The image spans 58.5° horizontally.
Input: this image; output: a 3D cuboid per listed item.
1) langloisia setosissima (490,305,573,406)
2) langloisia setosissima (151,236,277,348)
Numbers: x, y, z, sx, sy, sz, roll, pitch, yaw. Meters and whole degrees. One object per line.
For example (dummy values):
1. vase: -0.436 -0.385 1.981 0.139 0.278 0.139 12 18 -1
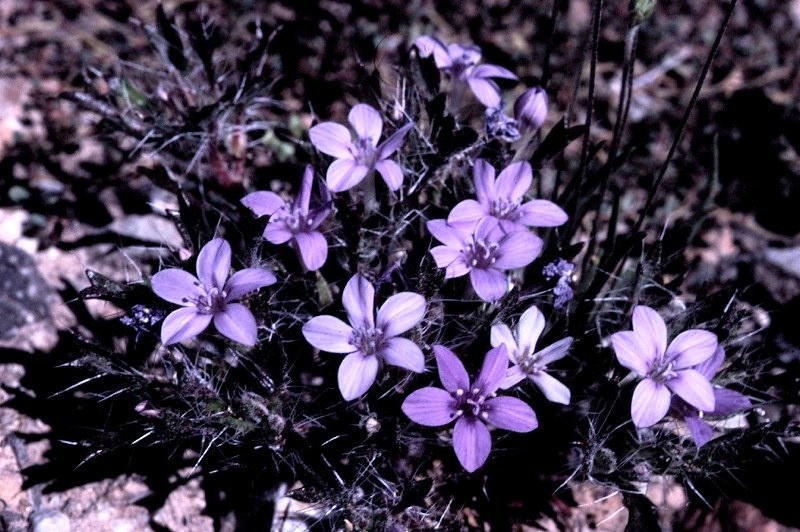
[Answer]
1. langloisia setosissima: 0.760 0.615 4.342 0.436 0.155 0.501 -11 34 50
2. langloisia setosissima: -1.089 0.148 4.313 0.607 0.250 0.591 6 31 -14
